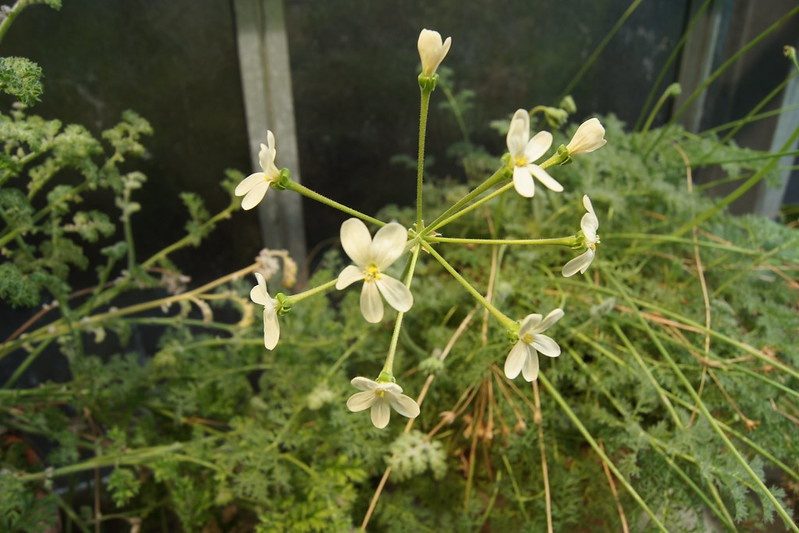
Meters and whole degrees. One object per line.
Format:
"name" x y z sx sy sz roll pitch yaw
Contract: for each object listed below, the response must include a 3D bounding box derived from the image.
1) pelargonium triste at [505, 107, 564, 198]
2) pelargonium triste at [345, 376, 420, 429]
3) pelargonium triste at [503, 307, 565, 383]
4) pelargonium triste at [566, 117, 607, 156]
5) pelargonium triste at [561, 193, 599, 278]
"pelargonium triste" 0.224 -0.204 1.133 0.067 0.143 0.140 -11 -65 43
"pelargonium triste" -0.029 0.239 1.118 0.103 0.046 0.114 13 -48 10
"pelargonium triste" 0.247 0.142 1.192 0.125 0.058 0.123 32 -81 -37
"pelargonium triste" 0.344 -0.233 1.196 0.045 0.032 0.104 43 -27 -5
"pelargonium triste" 0.385 -0.059 1.328 0.059 0.167 0.194 17 -77 17
